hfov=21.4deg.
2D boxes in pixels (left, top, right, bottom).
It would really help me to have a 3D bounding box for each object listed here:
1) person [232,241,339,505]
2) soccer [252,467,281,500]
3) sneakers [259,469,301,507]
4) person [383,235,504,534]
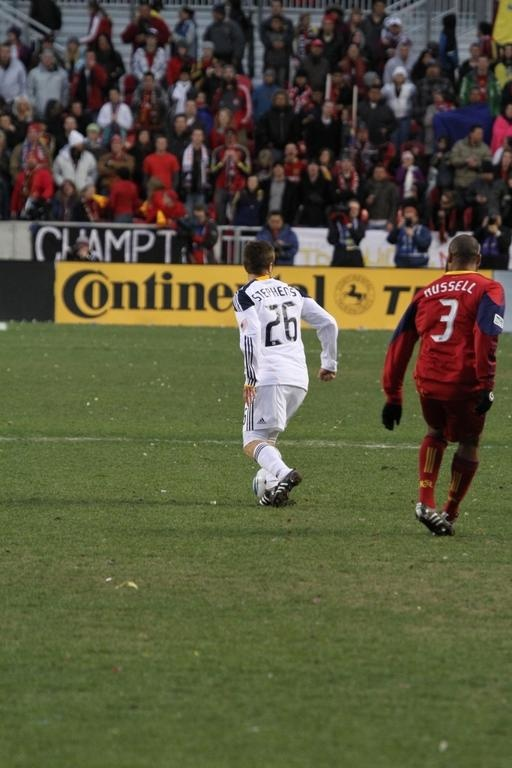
[{"bbox_3d":[0.142,-0.053,8.680,0.678,1.683,1.019,7,10,3],"label":"person"},{"bbox_3d":[0.024,0.625,8.717,0.147,0.187,0.190,14,6,-15],"label":"soccer"},{"bbox_3d":[0.163,0.642,8.498,0.134,0.175,0.387,5,-34,-32],"label":"sneakers"},{"bbox_3d":[1.106,0.008,7.987,0.451,1.781,0.967,2,11,-25],"label":"person"}]
